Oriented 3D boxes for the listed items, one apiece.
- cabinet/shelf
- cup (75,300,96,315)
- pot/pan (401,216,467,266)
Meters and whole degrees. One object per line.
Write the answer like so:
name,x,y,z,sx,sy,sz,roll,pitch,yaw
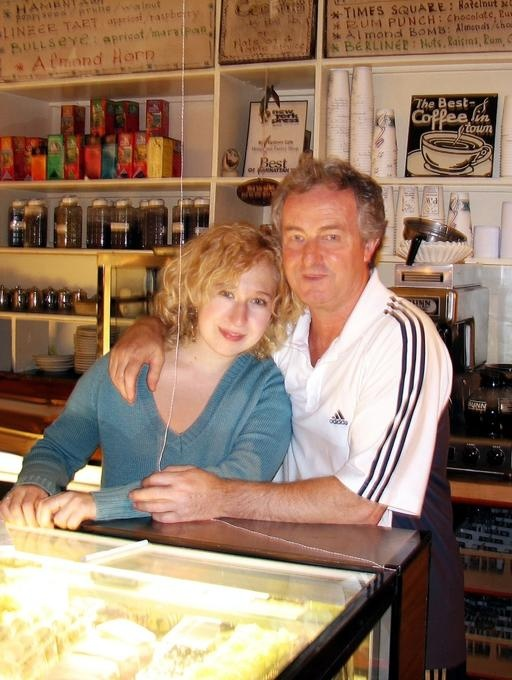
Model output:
cabinet/shelf,-0.031,0.032,1.618,0.976,1.338,0.922,3,-2,-38
cup,-0.870,-0.171,2.916,0.137,0.071,0.065,3,7,23
pot/pan,0.652,-0.387,2.124,0.181,0.102,0.263,22,19,16
